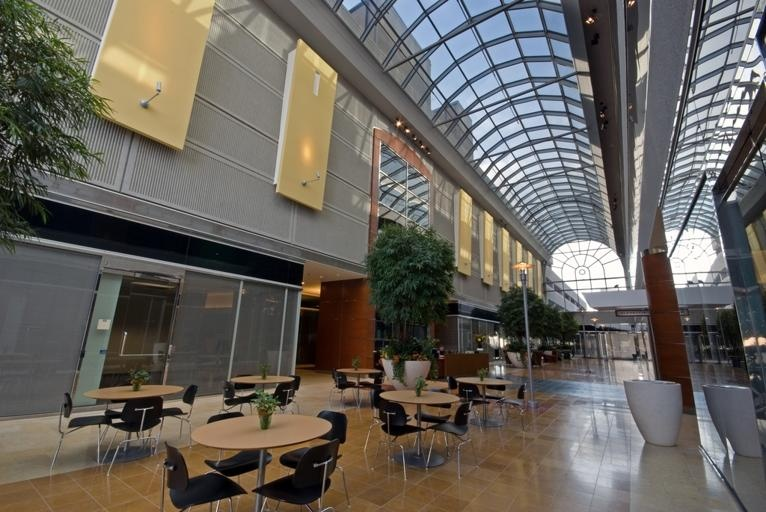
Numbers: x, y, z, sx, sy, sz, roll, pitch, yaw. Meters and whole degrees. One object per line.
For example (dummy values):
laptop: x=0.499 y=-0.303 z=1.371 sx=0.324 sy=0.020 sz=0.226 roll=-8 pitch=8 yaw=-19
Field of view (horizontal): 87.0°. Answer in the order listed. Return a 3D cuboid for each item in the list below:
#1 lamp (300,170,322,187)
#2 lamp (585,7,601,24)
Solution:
lamp: x=-2.760 y=-3.008 z=15.681 sx=0.134 sy=0.533 sz=0.940 roll=2 pitch=1 yaw=36
lamp: x=5.317 y=-6.097 z=10.305 sx=0.241 sy=0.079 sz=0.254 roll=-3 pitch=-41 yaw=16
